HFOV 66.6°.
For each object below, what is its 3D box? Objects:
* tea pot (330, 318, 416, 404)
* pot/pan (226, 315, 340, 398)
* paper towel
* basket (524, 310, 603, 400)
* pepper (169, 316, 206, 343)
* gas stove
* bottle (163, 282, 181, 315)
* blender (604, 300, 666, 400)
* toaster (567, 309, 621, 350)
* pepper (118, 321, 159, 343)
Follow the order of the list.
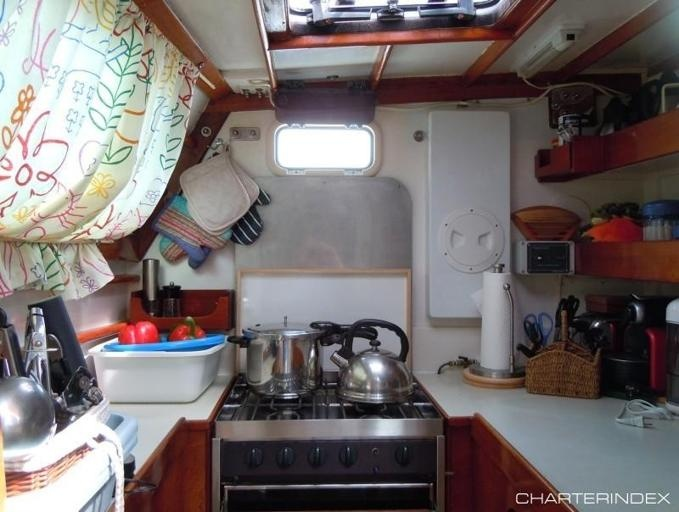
[{"bbox_3d":[0.114,0.371,1.942,0.317,0.283,0.331,0,-3,0],"label":"tea pot"},{"bbox_3d":[-0.204,0.392,1.962,0.273,0.303,0.322,6,5,-25],"label":"pot/pan"},{"bbox_3d":[0.653,0.281,2.218,0.135,0.426,0.152,4,9,-6],"label":"paper towel"},{"bbox_3d":[0.904,0.392,2.140,0.267,0.308,0.356,-2,-4,34],"label":"basket"},{"bbox_3d":[-0.625,0.309,2.129,0.094,0.162,0.110,16,-16,-37],"label":"pepper"},{"bbox_3d":[-0.023,0.589,2.220,0.799,0.302,0.775,4,5,0],"label":"gas stove"},{"bbox_3d":[-0.744,0.194,2.302,0.071,0.150,0.044,-3,5,-24],"label":"bottle"},{"bbox_3d":[1.152,0.353,1.980,0.316,0.380,0.250,0,0,-7],"label":"blender"},{"bbox_3d":[1.053,0.286,2.121,0.137,0.147,0.126,3,9,1],"label":"toaster"},{"bbox_3d":[-0.793,0.281,2.051,0.095,0.106,0.096,0,2,-22],"label":"pepper"}]
